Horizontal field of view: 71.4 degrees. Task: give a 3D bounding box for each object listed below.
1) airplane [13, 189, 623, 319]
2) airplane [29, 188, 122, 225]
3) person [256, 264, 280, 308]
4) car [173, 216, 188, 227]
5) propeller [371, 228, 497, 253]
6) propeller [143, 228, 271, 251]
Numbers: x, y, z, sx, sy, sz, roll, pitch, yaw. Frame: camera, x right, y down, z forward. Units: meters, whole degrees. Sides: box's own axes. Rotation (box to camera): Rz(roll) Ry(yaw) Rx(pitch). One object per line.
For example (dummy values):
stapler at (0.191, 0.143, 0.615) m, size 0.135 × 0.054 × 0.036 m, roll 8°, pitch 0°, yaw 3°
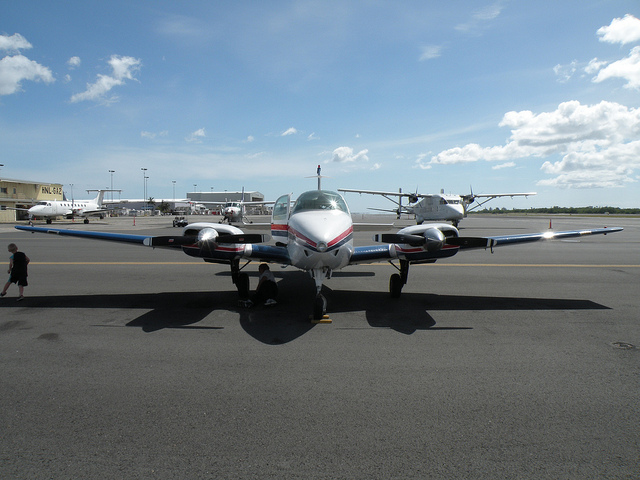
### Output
airplane at (0.107, 0.154, 11.253) m, size 11.228 × 2.830 × 4.412 m, roll -1°, pitch 7°, yaw -11°
airplane at (-29.540, -4.142, 54.338) m, size 8.418 × 2.540 × 9.591 m, roll -10°, pitch -5°, yaw -41°
person at (-1.365, 1.218, 11.644) m, size 0.466 × 0.388 × 0.993 m, roll -7°, pitch 28°, yaw -4°
car at (-14.234, -1.971, 45.510) m, size 1.312 × 0.849 × 1.988 m, roll 0°, pitch -4°, yaw -6°
propeller at (2.773, 0.011, 10.637) m, size 2.927 × 0.622 × 0.947 m, roll -2°, pitch 7°, yaw -18°
propeller at (-2.650, -0.007, 10.531) m, size 2.774 × 0.517 × 0.692 m, roll 0°, pitch 7°, yaw -2°
